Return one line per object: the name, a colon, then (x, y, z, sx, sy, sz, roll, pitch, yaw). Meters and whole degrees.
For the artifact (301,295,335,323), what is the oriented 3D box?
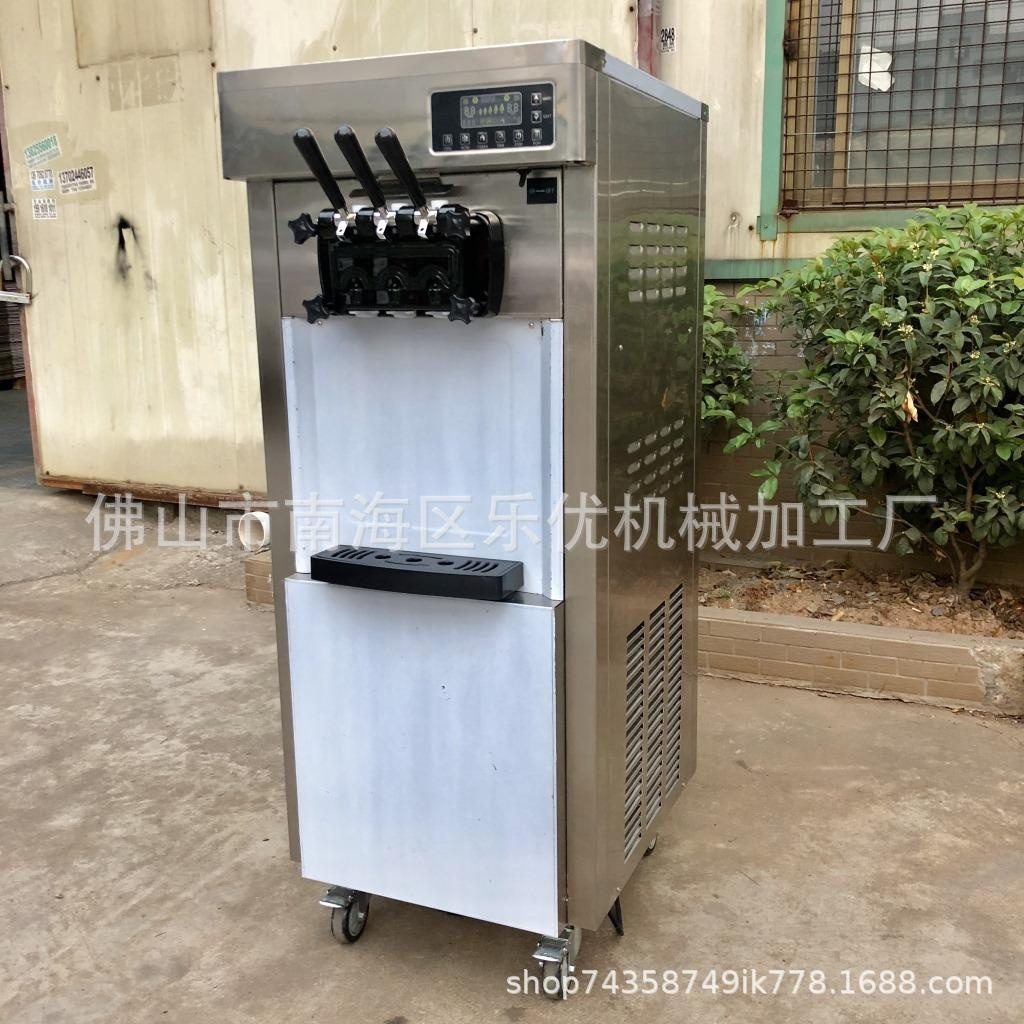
artifact: (-0.384, -0.398, 1.804, 0.042, 0.051, 0.091, -12, 17, -35)

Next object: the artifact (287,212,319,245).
artifact: (-0.404, -0.555, 1.789, 0.048, 0.059, 0.133, -5, 14, -12)

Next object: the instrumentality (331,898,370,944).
instrumentality: (-0.388, 0.981, 2.197, 0.058, 0.096, 0.112, -3, 14, 11)

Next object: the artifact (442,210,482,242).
artifact: (-0.095, -0.505, 1.604, 0.067, 0.055, 0.112, -1, 14, 3)

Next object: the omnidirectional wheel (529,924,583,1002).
omnidirectional wheel: (0.100, 0.992, 2.027, 0.087, 0.158, 0.113, 3, 14, 22)
